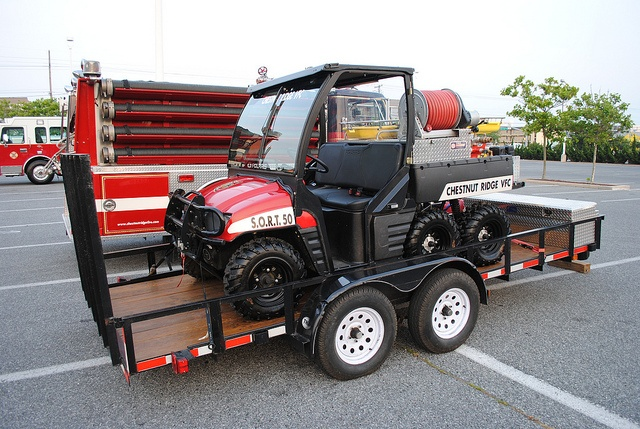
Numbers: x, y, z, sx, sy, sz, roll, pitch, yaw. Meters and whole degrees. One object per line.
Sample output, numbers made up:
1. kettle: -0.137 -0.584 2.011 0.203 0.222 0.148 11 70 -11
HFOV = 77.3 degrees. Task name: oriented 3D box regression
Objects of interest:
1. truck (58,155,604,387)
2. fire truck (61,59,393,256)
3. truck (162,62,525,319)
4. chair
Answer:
1. truck: 0.381 0.903 5.327 6.041 2.084 2.893 -7 11 -29
2. fire truck: -1.062 -1.775 10.616 9.329 3.620 2.712 -8 14 -34
3. truck: 0.269 -0.541 5.711 4.423 2.588 2.399 -11 15 -29
4. chair: 0.464 -0.094 4.940 0.851 1.310 1.466 -3 8 -23
